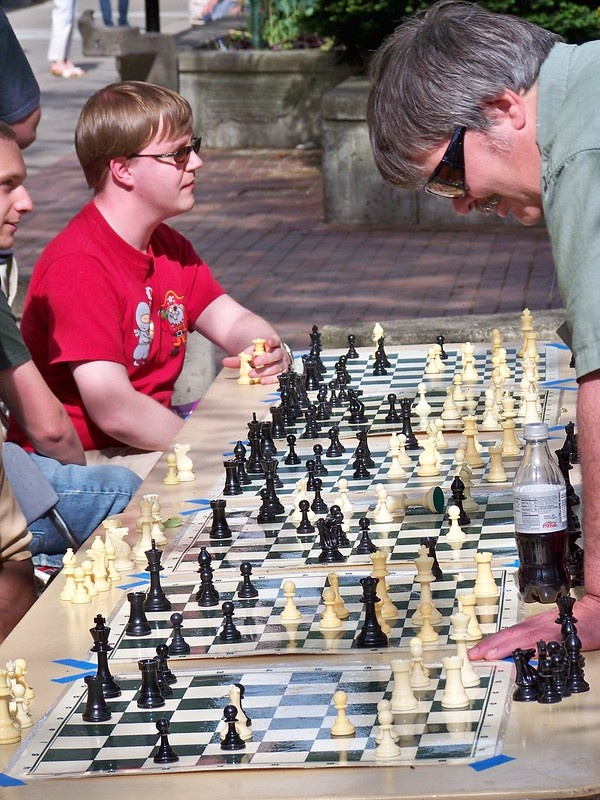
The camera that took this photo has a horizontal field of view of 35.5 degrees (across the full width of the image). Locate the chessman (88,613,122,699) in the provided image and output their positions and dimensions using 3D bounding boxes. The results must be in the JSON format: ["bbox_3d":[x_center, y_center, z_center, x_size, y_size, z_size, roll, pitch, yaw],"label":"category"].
[{"bbox_3d":[-0.384,0.499,1.820,0.082,0.152,0.072,-2,-10,-15],"label":"chessman"}]

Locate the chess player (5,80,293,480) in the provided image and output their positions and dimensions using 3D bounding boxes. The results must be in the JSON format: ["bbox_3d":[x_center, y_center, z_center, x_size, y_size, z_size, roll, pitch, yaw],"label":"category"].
[{"bbox_3d":[-0.900,-0.483,4.332,1.193,1.902,1.171,14,29,29],"label":"chess player"}]
